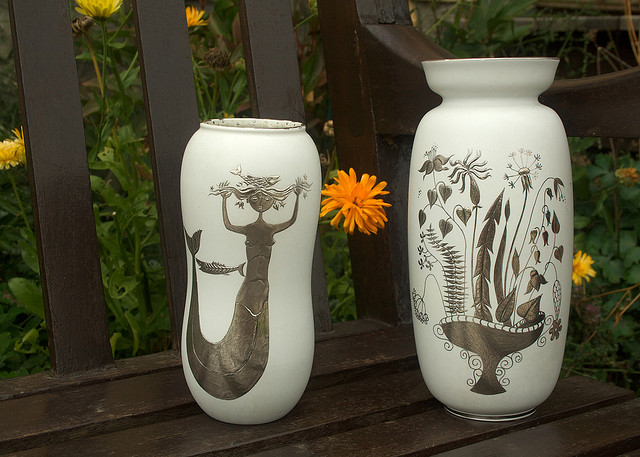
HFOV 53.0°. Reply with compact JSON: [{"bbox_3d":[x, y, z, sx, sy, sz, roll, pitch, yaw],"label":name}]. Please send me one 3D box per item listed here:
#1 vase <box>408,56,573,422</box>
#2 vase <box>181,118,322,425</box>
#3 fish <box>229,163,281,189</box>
[{"bbox_3d":[0.281,0.023,1.078,0.261,0.588,0.191,3,21,20],"label":"vase"},{"bbox_3d":[-0.114,0.076,1.051,0.252,0.476,0.153,-5,20,0],"label":"vase"},{"bbox_3d":[-0.104,-0.078,0.998,0.070,0.034,0.021,8,50,-5],"label":"fish"}]
